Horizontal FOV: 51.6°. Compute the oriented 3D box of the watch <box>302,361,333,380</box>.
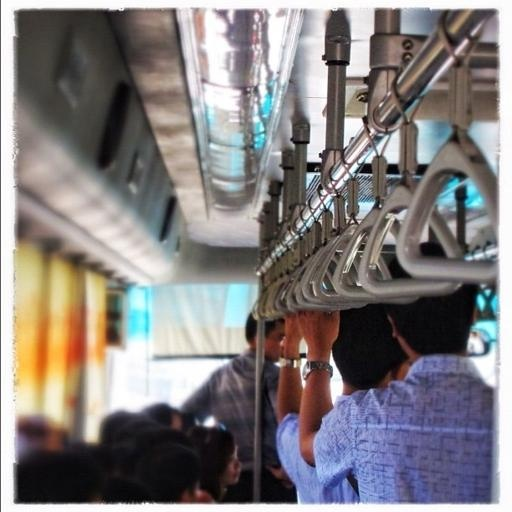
[{"bbox_3d":[0.234,0.412,2.013,0.094,0.100,0.076,10,53,-10],"label":"watch"}]
